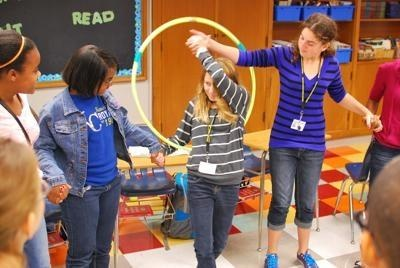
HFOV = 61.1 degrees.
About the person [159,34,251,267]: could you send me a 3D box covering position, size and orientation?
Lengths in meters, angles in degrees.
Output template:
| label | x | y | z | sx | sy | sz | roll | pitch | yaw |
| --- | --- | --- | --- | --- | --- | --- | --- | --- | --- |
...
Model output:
| label | x | y | z | sx | sy | sz | roll | pitch | yaw |
| --- | --- | --- | --- | --- | --- | --- | --- | --- | --- |
| person | 0.109 | 0.111 | 2.557 | 0.537 | 1.726 | 0.423 | -10 | 16 | -29 |
